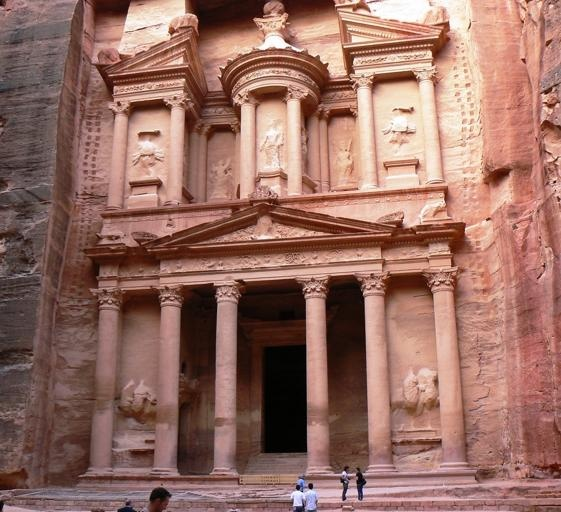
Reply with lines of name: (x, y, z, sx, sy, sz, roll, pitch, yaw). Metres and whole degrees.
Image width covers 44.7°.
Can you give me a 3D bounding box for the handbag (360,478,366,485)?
handbag: (2.032, 5.520, 16.697, 0.096, 0.139, 0.238, 0, -4, 5)
